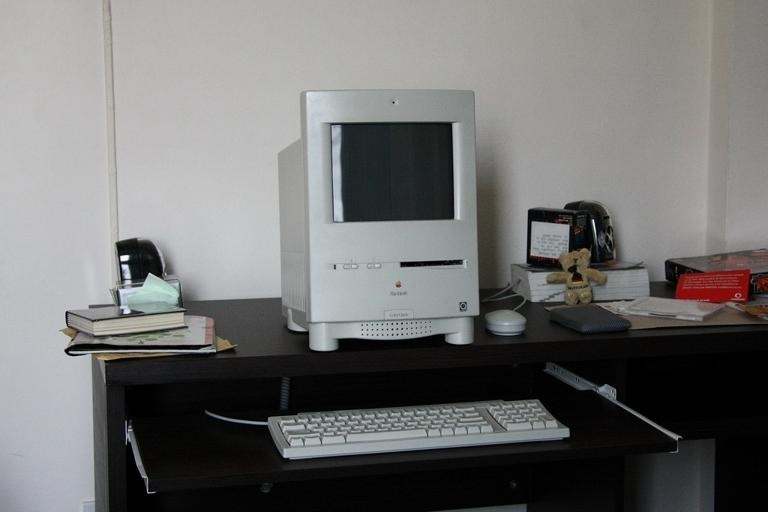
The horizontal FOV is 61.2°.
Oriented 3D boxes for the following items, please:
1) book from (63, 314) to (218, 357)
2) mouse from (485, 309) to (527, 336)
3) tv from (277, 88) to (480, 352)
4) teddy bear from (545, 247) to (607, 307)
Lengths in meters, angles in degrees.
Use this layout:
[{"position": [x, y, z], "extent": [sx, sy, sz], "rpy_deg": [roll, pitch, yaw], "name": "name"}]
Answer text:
[{"position": [-0.658, 0.226, 1.776], "extent": [0.374, 0.067, 0.280], "rpy_deg": [-6, 7, -16], "name": "book"}, {"position": [0.349, 0.189, 1.905], "extent": [0.105, 0.061, 0.141], "rpy_deg": [-5, 7, -8], "name": "mouse"}, {"position": [-0.034, -0.109, 1.946], "extent": [0.527, 0.763, 0.695], "rpy_deg": [-1, 1, -13], "name": "tv"}, {"position": [0.647, 0.076, 2.206], "extent": [0.194, 0.189, 0.076], "rpy_deg": [-1, -10, 5], "name": "teddy bear"}]
